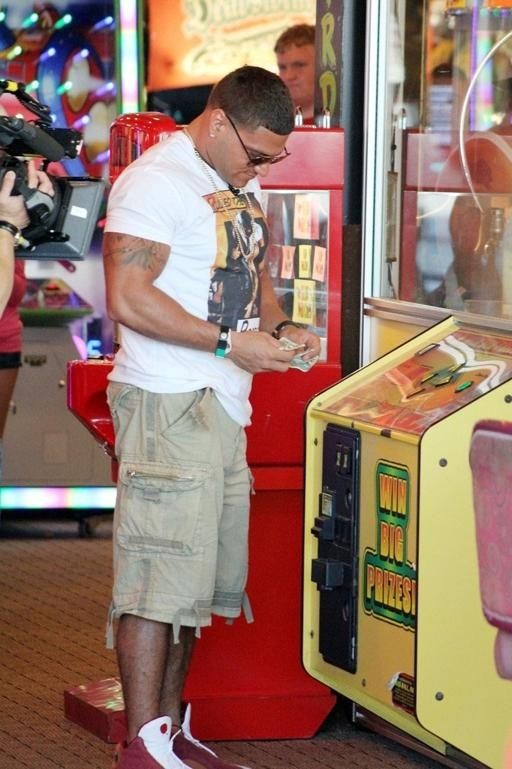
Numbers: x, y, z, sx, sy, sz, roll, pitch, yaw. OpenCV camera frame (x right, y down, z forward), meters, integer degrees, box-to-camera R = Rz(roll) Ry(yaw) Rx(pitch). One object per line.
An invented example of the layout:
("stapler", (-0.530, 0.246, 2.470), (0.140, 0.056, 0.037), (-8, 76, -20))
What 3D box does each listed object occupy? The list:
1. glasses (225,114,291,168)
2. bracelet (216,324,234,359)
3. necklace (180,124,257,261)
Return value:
("glasses", (-0.001, -0.460, 1.293), (0.031, 0.107, 0.104), (-28, -6, 24))
("bracelet", (-0.058, -0.078, 1.246), (0.035, 0.052, 0.049), (6, 10, -9))
("necklace", (-0.078, -0.351, 1.382), (0.066, 0.274, 0.161), (-15, -3, 40))
